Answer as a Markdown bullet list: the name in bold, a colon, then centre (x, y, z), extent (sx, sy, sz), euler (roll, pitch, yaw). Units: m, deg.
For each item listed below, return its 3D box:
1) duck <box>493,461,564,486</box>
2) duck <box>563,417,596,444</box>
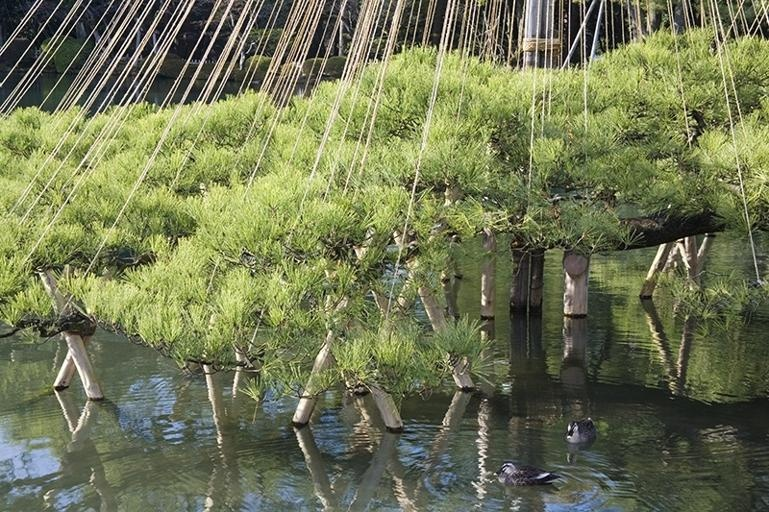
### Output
- **duck**: centre (1.475, 2.273, 7.703), extent (0.566, 0.232, 0.265), euler (-1, -10, 12)
- **duck**: centre (2.248, 2.023, 8.540), extent (0.200, 0.240, 0.348), euler (3, 20, 35)
